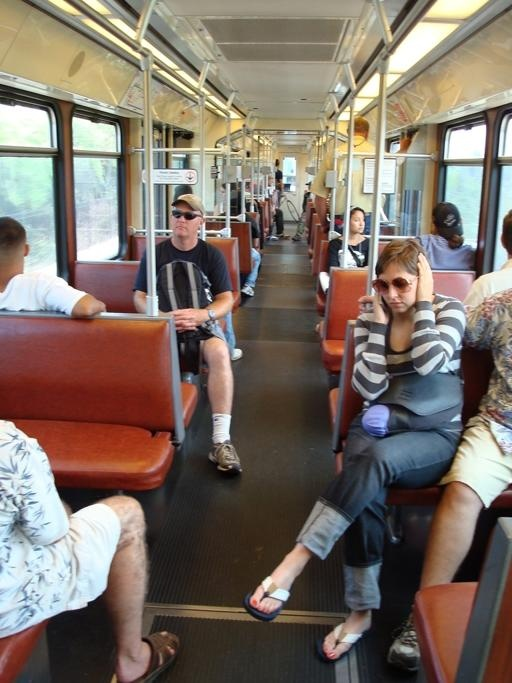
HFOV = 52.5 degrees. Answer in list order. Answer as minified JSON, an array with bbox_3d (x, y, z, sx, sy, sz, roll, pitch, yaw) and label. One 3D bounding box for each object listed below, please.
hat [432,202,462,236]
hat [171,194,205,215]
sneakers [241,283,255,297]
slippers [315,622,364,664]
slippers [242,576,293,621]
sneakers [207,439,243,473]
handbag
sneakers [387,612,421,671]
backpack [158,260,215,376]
[{"bbox_3d":[1.939,-1.227,5.271,0.244,0.356,0.198,-16,-30,6],"label":"hat"},{"bbox_3d":[-0.447,-0.982,3.698,0.155,0.115,0.237,15,-6,11],"label":"hat"},{"bbox_3d":[-0.132,-0.837,8.673,0.134,0.143,0.325,1,0,8],"label":"sneakers"},{"bbox_3d":[0.294,1.033,1.810,0.073,0.051,0.202,16,18,41],"label":"slippers"},{"bbox_3d":[0.052,0.888,1.821,0.088,0.062,0.219,11,2,20],"label":"slippers"},{"bbox_3d":[-0.185,0.704,3.189,0.108,0.106,0.244,-1,2,-23],"label":"sneakers"},{"bbox_3d":[0.621,0.247,2.064,0.346,0.120,0.256,-10,26,14],"label":"handbag"},{"bbox_3d":[0.503,1.016,1.738,0.096,0.138,0.114,12,19,41],"label":"sneakers"},{"bbox_3d":[-0.496,-0.154,3.687,0.437,0.736,0.300,1,-4,1],"label":"backpack"}]
